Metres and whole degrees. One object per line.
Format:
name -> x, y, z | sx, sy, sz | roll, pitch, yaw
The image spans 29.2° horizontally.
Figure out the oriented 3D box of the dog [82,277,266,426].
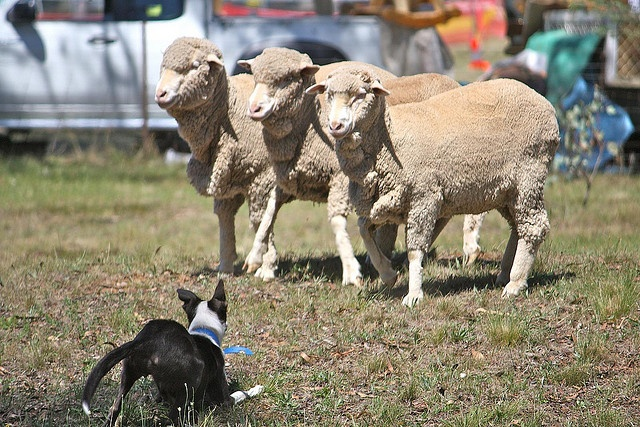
dog -> -1.605, 1.638, 14.054 | 1.889, 1.563, 0.638 | -8, 15, -40
